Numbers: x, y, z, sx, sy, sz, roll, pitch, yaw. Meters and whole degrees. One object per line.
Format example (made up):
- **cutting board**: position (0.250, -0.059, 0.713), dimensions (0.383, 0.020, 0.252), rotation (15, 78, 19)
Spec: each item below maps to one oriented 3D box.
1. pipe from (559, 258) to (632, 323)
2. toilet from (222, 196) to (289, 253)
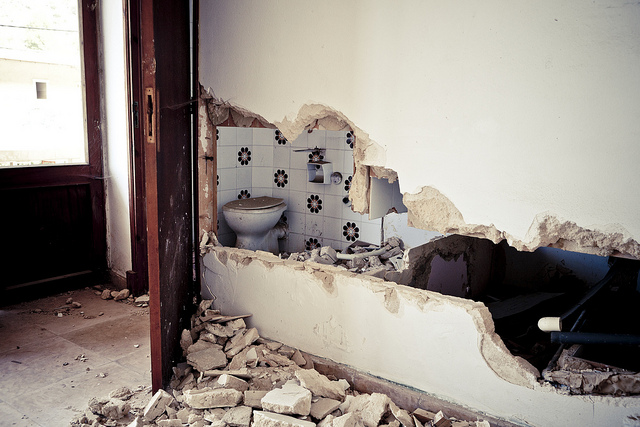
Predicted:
- **pipe**: position (1.855, 0.521, 3.209), dimensions (0.683, 0.013, 0.071), rotation (-42, 6, -23)
- **toilet**: position (-0.531, 0.145, 4.140), dimensions (0.564, 0.520, 0.361), rotation (-13, 23, -43)
